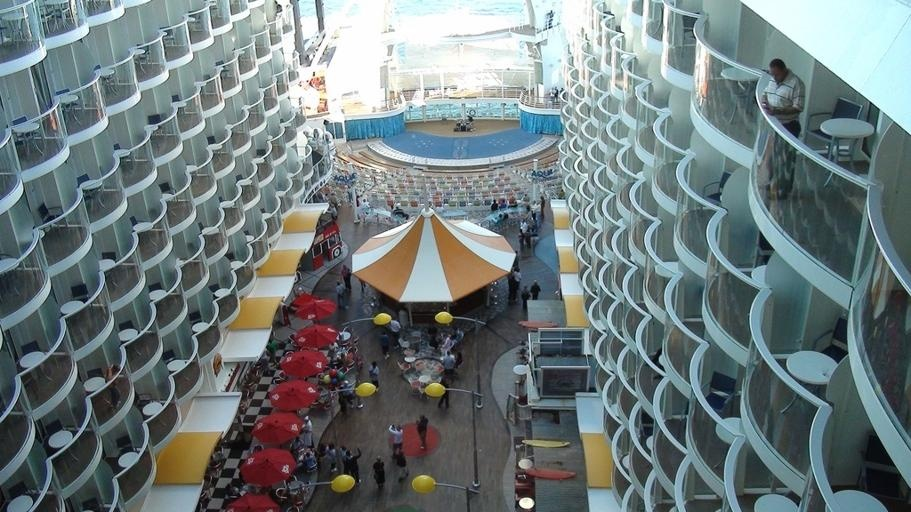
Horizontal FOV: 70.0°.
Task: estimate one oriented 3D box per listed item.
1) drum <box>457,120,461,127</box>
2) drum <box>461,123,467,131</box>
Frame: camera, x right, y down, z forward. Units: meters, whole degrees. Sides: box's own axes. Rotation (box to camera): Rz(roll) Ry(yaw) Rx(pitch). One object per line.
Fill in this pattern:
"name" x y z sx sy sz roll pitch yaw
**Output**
"drum" 0.374 -12.490 61.455 0.608 0.246 0.755 -12 32 -4
"drum" 0.864 -11.967 60.708 0.632 0.655 0.446 -4 57 0
